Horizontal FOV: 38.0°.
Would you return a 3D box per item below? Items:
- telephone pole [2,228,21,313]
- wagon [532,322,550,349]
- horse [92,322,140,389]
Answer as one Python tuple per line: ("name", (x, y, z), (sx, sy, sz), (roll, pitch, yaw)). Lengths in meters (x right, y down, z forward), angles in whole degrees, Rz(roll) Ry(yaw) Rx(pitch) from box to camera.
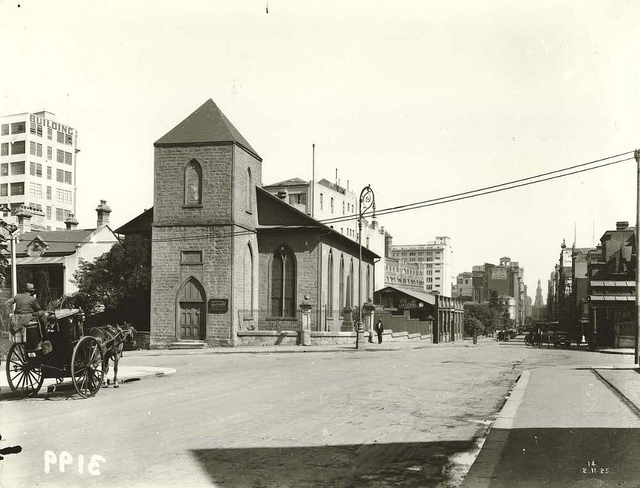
("telephone pole", (-14.650, 1.213, 44.070), (0.847, 5.112, 0.991), (-5, -1, -21))
("wagon", (17.672, 7.280, 74.665), (1.276, 2.227, 2.366), (0, -15, 9))
("horse", (-6.312, 3.273, 27.795), (0.668, 1.980, 3.007), (-2, -10, 16))
